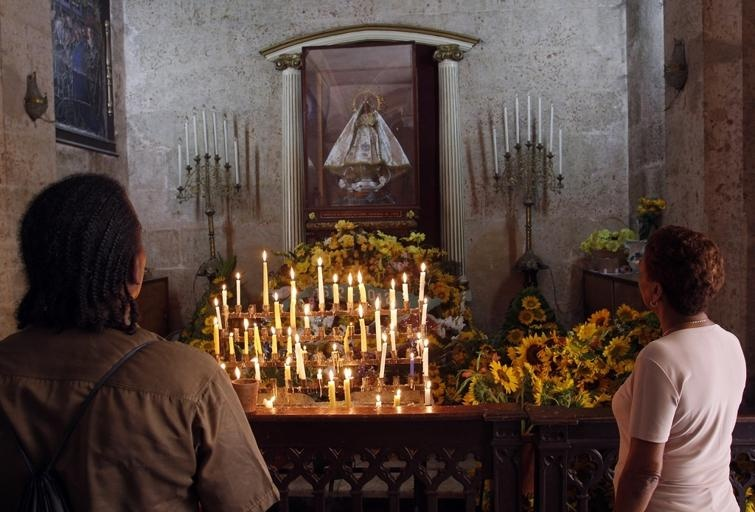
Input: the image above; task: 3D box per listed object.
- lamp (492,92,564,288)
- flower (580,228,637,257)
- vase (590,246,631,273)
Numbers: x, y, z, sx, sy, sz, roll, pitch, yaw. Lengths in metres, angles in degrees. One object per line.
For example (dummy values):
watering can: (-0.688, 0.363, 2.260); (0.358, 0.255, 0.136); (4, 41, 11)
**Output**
lamp: (1.456, -0.637, 8.623); (0.710, 1.864, 0.426); (0, 0, 9)
flower: (2.122, -0.147, 8.080); (0.279, 0.169, 0.325); (-3, 7, 35)
vase: (2.083, 0.035, 8.077); (0.222, 0.157, 0.234); (1, -8, 1)
